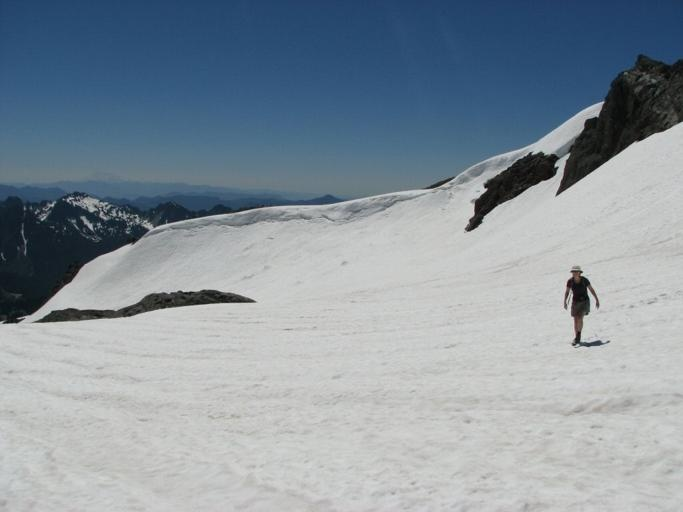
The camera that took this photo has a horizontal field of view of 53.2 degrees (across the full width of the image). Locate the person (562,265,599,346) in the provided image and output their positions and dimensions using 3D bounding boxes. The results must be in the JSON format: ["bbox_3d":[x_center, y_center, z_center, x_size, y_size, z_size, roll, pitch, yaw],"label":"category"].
[{"bbox_3d":[9.925,1.980,28.283,1.232,3.214,1.616,-2,10,16],"label":"person"}]
